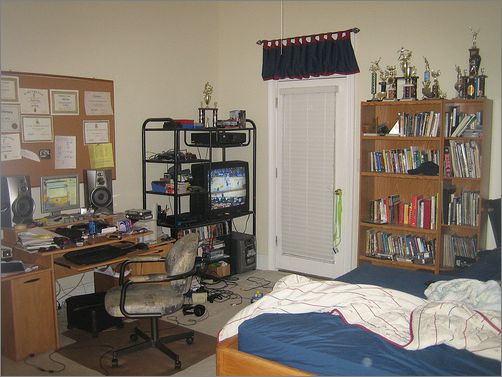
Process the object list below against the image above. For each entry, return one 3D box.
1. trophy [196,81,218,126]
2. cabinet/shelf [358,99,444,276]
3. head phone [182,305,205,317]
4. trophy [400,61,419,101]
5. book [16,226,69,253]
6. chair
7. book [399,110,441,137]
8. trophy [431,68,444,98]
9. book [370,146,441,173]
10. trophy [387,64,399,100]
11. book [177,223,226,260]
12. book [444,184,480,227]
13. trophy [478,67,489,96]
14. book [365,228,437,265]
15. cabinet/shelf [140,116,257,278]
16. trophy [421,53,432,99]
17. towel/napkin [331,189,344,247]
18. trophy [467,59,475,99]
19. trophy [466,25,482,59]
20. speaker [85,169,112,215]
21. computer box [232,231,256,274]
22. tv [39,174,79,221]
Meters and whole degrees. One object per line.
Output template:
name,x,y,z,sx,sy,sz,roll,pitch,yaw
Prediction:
trophy,-0.533,-0.974,5.354,0.274,0.704,0.234,1,12,-33
cabinet/shelf,1.617,-0.082,4.938,0.853,1.749,0.320,8,9,39
head phone,-0.572,1.195,4.292,0.177,0.085,0.128,-6,3,6
trophy,1.659,-1.107,4.557,0.185,0.383,0.195,2,6,-14
book,-1.824,0.442,3.778,0.253,0.075,0.253,10,7,36
chair,-0.836,0.829,3.814,0.776,1.056,0.811,0,7,-26
book,1.755,-0.657,4.500,0.319,0.283,0.123,2,2,35
trophy,1.934,-1.082,4.507,0.122,0.288,0.262,5,11,20
book,1.602,-0.313,4.650,0.667,0.266,0.230,7,8,38
trophy,1.528,-1.142,4.709,0.130,0.366,0.329,4,11,16
book,-0.628,0.623,5.429,0.272,0.381,0.584,13,11,42
book,2.099,0.176,4.312,0.347,0.448,0.354,1,0,28
trophy,2.270,-1.025,4.242,0.084,0.287,0.319,7,12,28
book,1.650,0.632,4.686,0.638,0.323,0.340,6,6,41
cabinet/shelf,-0.600,0.136,5.210,0.630,1.936,1.387,8,11,43
trophy,1.844,-1.159,4.534,0.103,0.428,0.281,5,12,20
towel/napkin,1.047,0.379,5.288,0.119,0.734,0.181,3,-4,26
trophy,2.142,-1.043,4.189,0.077,0.337,0.063,8,13,33
trophy,2.206,-1.444,4.273,0.100,0.325,0.287,6,12,25
speaker,-1.571,0.038,4.432,0.264,0.440,0.219,-3,12,-22
computer box,-0.125,0.791,5.527,0.258,0.509,0.245,3,7,-20
tv,-1.861,0.080,4.163,0.154,0.425,0.433,1,4,40
